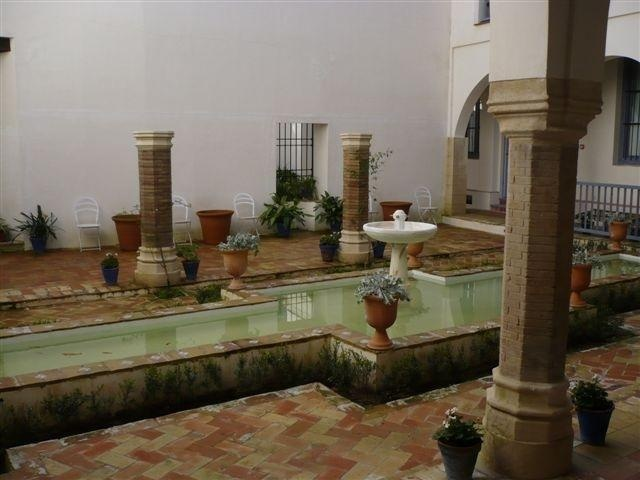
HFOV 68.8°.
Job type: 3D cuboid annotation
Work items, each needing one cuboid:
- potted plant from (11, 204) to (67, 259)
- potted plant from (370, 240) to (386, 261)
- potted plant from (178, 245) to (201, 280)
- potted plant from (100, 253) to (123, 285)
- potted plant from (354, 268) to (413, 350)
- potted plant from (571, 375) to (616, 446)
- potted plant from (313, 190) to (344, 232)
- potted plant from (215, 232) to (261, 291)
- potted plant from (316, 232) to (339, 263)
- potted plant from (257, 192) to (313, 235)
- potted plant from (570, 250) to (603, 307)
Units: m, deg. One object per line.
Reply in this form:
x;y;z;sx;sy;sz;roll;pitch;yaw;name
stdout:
-6.204;-0.376;10.310;0.753;0.698;0.694;-10;3;-30;potted plant
1.243;0.221;10.065;0.370;0.271;0.344;0;-2;-6;potted plant
-2.336;0.411;8.262;0.339;0.575;0.531;-2;12;-17;potted plant
-3.599;0.517;8.013;0.242;0.473;0.417;-4;13;-27;potted plant
0.655;0.757;5.098;0.466;0.805;0.360;11;15;41;potted plant
2.257;1.419;3.867;0.359;0.429;0.302;-1;-11;19;potted plant
0.245;-0.734;12.726;0.694;1.090;1.151;-1;12;-12;potted plant
-1.367;0.352;7.841;0.384;0.849;0.600;12;15;41;potted plant
0.172;0.174;9.886;0.569;0.642;0.513;1;1;-5;potted plant
-0.985;-0.690;12.696;1.063;1.054;1.580;6;12;22;potted plant
3.813;0.573;6.912;0.539;0.797;0.413;3;-2;17;potted plant
